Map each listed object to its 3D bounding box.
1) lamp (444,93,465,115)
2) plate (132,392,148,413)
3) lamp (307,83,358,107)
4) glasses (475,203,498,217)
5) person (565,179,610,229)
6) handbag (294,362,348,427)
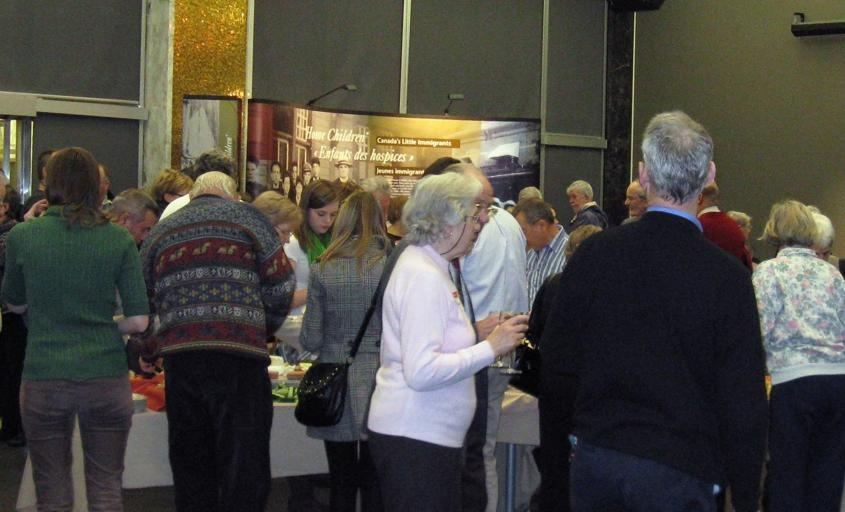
[{"bbox_3d":[0.427,-2.067,12.103,0.288,0.307,0.560,2,8,2],"label":"lamp"},{"bbox_3d":[-1.980,1.028,6.216,0.140,0.138,0.136,0,-9,0],"label":"plate"},{"bbox_3d":[-1.279,-2.088,11.556,0.488,0.353,0.966,6,9,25],"label":"lamp"},{"bbox_3d":[0.376,-0.290,5.453,0.109,0.039,0.149,1,-2,-13],"label":"glasses"},{"bbox_3d":[1.899,-0.537,10.354,0.435,0.639,0.856,4,5,21],"label":"person"},{"bbox_3d":[-0.660,0.919,5.848,0.329,0.432,0.158,4,8,16],"label":"handbag"}]
